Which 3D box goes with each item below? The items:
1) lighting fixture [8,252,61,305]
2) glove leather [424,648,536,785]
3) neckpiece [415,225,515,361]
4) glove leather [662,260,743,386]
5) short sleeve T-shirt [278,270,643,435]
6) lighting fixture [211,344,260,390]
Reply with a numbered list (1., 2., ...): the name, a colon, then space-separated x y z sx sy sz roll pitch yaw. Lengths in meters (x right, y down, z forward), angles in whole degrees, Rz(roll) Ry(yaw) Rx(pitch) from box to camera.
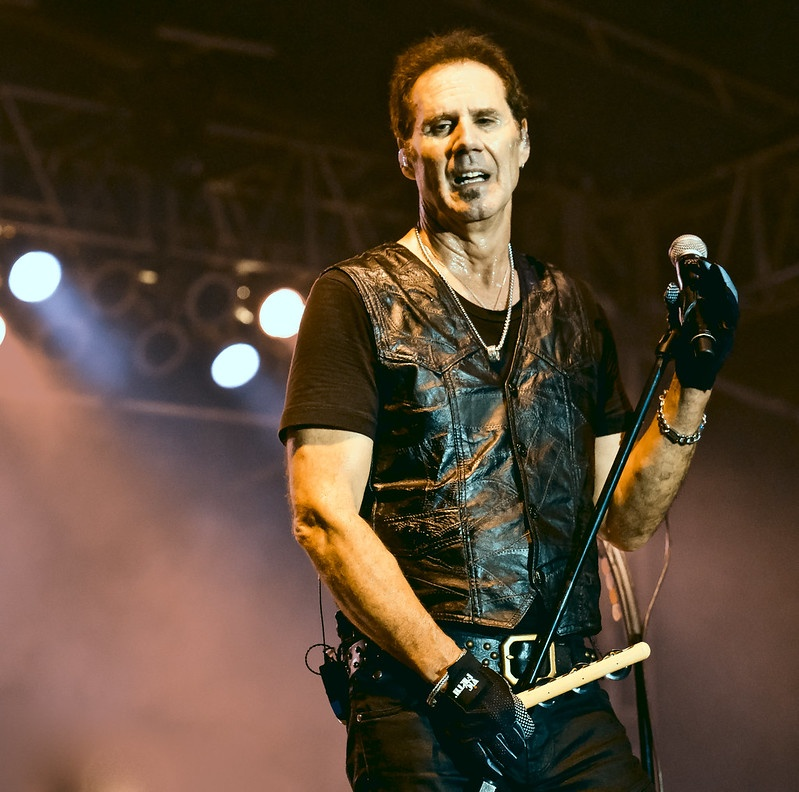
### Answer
1. lighting fixture: -2.419 -0.805 7.251 0.326 0.268 0.239 7 -27 -18
2. glove leather: 0.221 0.950 3.286 0.305 0.403 0.158 -40 9 -11
3. neckpiece: 0.239 -0.318 3.755 0.307 0.473 0.058 -9 -16 -24
4. glove leather: 0.918 -0.210 3.269 0.261 0.376 0.129 1 16 5
5. short sleeve T-shirt: 0.012 -0.084 3.471 0.933 0.484 0.416 5 -19 -14
6. lighting fixture: -1.196 -0.226 7.954 0.344 0.253 0.266 1 -26 -6
